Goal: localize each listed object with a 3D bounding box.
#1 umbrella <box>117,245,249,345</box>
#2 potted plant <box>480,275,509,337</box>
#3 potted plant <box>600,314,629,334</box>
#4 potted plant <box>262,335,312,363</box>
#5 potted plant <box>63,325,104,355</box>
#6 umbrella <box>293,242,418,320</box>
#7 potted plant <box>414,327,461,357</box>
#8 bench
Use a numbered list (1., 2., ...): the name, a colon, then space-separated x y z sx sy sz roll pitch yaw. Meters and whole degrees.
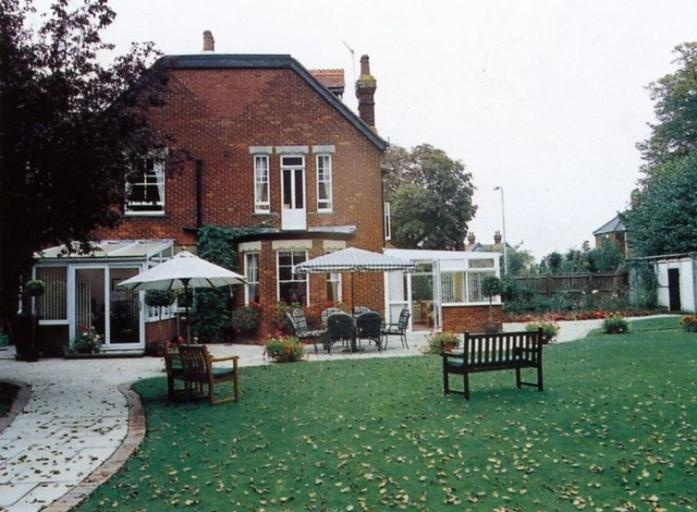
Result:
1. umbrella: -3.760 0.422 15.714 2.037 0.998 2.037 1 8 25
2. potted plant: 4.810 1.523 23.780 1.138 2.247 1.059 1 4 -33
3. potted plant: 8.566 2.196 22.189 0.663 0.689 0.685 -5 0 23
4. potted plant: -1.750 2.554 18.768 1.086 0.646 0.923 2 9 30
5. potted plant: -8.014 2.524 21.053 0.772 0.678 0.914 -1 0 -4
6. umbrella: 0.064 0.822 22.870 2.464 1.647 2.568 -1 3 -7
7. potted plant: 2.439 2.363 18.800 0.907 0.582 0.922 -5 -1 37
8. bench: 2.969 2.146 14.142 2.034 1.365 0.847 0 0 -29
